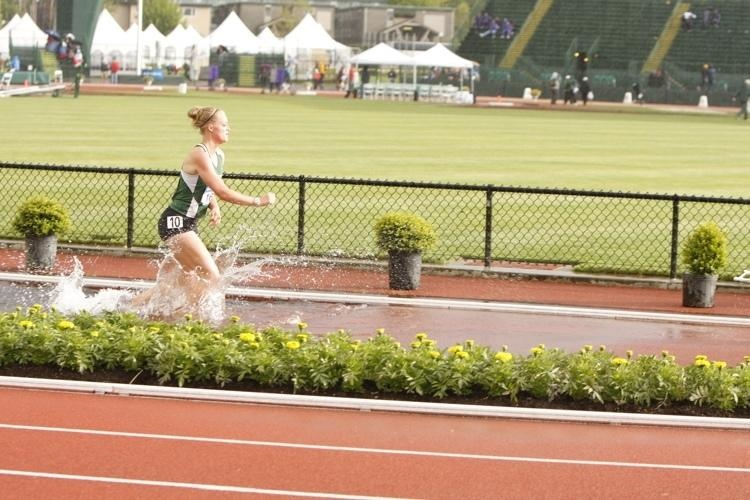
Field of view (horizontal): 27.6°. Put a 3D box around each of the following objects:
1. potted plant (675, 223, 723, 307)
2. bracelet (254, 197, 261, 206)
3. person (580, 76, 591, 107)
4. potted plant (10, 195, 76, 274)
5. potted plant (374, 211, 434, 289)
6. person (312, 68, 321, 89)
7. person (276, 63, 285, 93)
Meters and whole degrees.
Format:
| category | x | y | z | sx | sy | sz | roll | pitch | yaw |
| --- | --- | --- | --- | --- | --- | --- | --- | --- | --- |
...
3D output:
| category | x | y | z | sx | sy | sz | roll | pitch | yaw |
| --- | --- | --- | --- | --- | --- | --- | --- | --- | --- |
| potted plant | 7.688 | 0.373 | 35.580 | 0.933 | 1.862 | 0.909 | 6 | 11 | 15 |
| bracelet | -2.452 | -0.981 | 32.235 | 0.037 | 0.147 | 0.155 | 2 | -2 | -43 |
| person | 11.232 | -8.271 | 81.118 | 0.582 | 1.476 | 1.985 | 5 | 11 | 8 |
| potted plant | -8.003 | -0.353 | 36.555 | 1.277 | 1.595 | 0.837 | 0 | 11 | -14 |
| potted plant | 0.607 | 0.057 | 36.441 | 1.676 | 1.729 | 1.519 | -13 | -13 | 43 |
| person | -3.366 | -9.972 | 90.471 | 0.489 | 1.325 | 1.637 | 2 | 11 | -4 |
| person | -5.481 | -9.801 | 89.224 | 0.431 | 1.354 | 1.040 | -2 | 2 | 4 |
